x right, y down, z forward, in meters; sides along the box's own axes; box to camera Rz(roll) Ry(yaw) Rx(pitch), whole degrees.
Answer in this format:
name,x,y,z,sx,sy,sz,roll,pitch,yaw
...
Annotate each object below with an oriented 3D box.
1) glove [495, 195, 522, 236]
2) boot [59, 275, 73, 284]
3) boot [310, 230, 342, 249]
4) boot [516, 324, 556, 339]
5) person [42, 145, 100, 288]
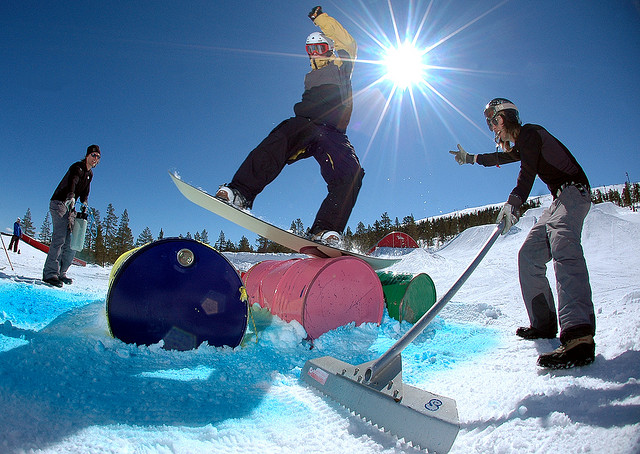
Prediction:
name,x,y,z,sx,sy,sz,roll,pitch,yaw
glove,1.759,-0.102,3.951,0.206,0.380,0.315,5,9,26
boot,-3.797,0.809,6.306,0.060,0.081,0.185,40,-12,35
boot,0.082,0.121,4.835,0.413,0.186,0.146,20,14,-43
boot,2.198,1.097,4.348,0.107,0.152,0.276,6,3,-44
person,-3.708,-0.209,6.322,0.633,2.138,0.556,1,-11,0
